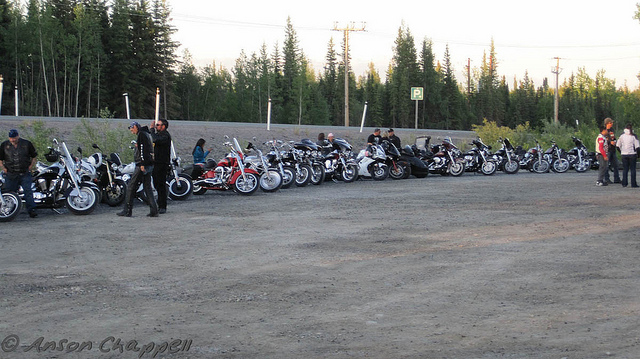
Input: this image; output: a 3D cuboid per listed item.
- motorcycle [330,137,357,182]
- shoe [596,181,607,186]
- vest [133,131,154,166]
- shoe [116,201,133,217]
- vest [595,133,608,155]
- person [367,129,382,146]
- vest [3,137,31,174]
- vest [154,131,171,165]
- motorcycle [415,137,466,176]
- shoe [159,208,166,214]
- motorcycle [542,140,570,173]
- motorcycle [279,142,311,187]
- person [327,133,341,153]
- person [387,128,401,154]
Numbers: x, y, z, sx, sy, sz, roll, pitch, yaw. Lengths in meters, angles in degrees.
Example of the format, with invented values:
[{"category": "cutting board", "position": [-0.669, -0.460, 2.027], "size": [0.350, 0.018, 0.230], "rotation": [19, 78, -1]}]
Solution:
[{"category": "motorcycle", "position": [1.164, -0.899, 33.135], "size": [1.093, 1.943, 0.753], "rotation": [-1, 5, 1]}, {"category": "shoe", "position": [11.865, 0.161, 30.263], "size": [0.492, 0.183, 0.149], "rotation": [-2, 21, -15]}, {"category": "vest", "position": [-5.755, -1.004, 23.412], "size": [0.608, 1.116, 0.491], "rotation": [-2, 5, -12]}, {"category": "shoe", "position": [-6.297, 0.934, 23.063], "size": [0.478, 0.458, 0.353], "rotation": [-2, 5, -15]}, {"category": "vest", "position": [12.009, -1.493, 30.507], "size": [0.452, 0.916, 1.138], "rotation": [1, 5, 22]}, {"category": "person", "position": [2.668, -2.061, 34.632], "size": [0.497, 0.669, 1.000], "rotation": [1, 5, 24]}, {"category": "vest", "position": [-9.747, -0.722, 23.021], "size": [1.182, 1.116, 0.665], "rotation": [-5, -3, -21]}, {"category": "vest", "position": [-5.290, -1.052, 23.950], "size": [0.740, 1.083, 0.288], "rotation": [-5, 6, -41]}, {"category": "motorcycle", "position": [6.062, -1.192, 36.399], "size": [1.682, 1.703, 3.255], "rotation": [2, 5, -41]}, {"category": "shoe", "position": [-5.166, 1.014, 23.433], "size": [0.175, 0.167, 0.279], "rotation": [0, 5, 5]}, {"category": "motorcycle", "position": [12.797, -1.230, 38.873], "size": [1.367, 1.598, 1.013], "rotation": [1, 5, 16]}, {"category": "motorcycle", "position": [-1.225, -0.774, 31.495], "size": [2.238, 1.285, 1.336], "rotation": [14, 8, 29]}, {"category": "person", "position": [0.685, -1.696, 33.270], "size": [0.564, 0.865, 0.459], "rotation": [-4, 0, 36]}, {"category": "person", "position": [3.649, -1.894, 35.103], "size": [0.613, 1.139, 1.717], "rotation": [0, 5, 5]}]
